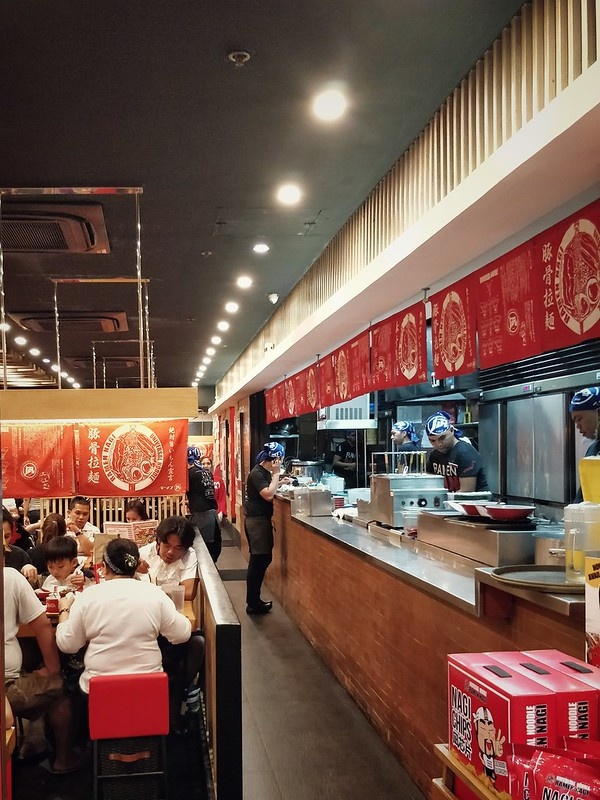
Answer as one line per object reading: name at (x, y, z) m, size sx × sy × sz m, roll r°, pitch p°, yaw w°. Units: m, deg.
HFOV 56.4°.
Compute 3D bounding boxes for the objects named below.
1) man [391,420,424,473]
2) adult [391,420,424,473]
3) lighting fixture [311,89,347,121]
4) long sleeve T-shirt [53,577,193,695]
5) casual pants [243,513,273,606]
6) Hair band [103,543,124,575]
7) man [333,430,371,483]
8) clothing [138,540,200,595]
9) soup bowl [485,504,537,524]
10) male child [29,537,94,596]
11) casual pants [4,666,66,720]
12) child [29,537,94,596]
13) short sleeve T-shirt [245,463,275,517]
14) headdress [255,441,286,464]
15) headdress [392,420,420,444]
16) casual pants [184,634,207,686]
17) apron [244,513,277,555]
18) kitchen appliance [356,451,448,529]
man at (1.177, 0.598, 6.112) m, size 0.237 × 0.857 × 0.353 m, roll 9°, pitch 40°, yaw 29°
adult at (1.169, 0.598, 6.094) m, size 0.232 × 0.860 × 0.341 m, roll 8°, pitch 38°, yaw 27°
lighting fixture at (0.150, -1.516, 2.882) m, size 0.189 × 0.037 × 0.316 m, roll -2°, pitch -9°, yaw 0°
long sleeve T-shirt at (-0.739, 1.030, 2.355) m, size 0.498 × 0.583 × 0.417 m, roll 0°, pitch 0°, yaw -8°
casual pants at (-0.459, 1.740, 5.913) m, size 0.269 × 1.001 × 0.386 m, roll -8°, pitch -10°, yaw 43°
Hair band at (-0.801, 0.693, 2.408) m, size 0.077 × 0.106 × 0.054 m, roll -9°, pitch -39°, yaw -27°
man at (0.745, 0.958, 7.944) m, size 0.449 × 0.815 × 0.464 m, roll 0°, pitch -13°, yaw 9°
clothing at (-0.857, 1.104, 3.652) m, size 0.248 × 0.311 × 0.132 m, roll 11°, pitch -25°, yaw 2°
soup bowl at (0.950, 0.520, 2.556) m, size 0.202 × 0.080 × 0.286 m, roll -4°, pitch -9°, yaw 19°
male child at (-1.440, 1.051, 3.359) m, size 0.374 × 0.425 × 0.205 m, roll -4°, pitch -1°, yaw -8°
casual pants at (-1.168, 1.308, 2.559) m, size 0.319 × 0.201 × 0.134 m, roll -5°, pitch -10°, yaw -38°
child at (-1.438, 1.050, 3.363) m, size 0.367 × 0.423 × 0.207 m, roll -4°, pitch 0°, yaw 2°
short sleeve T-shirt at (-0.417, 0.993, 6.321) m, size 0.386 × 0.783 × 0.705 m, roll 1°, pitch -9°, yaw -9°
headdress at (-0.325, 0.579, 6.259) m, size 0.313 × 0.295 × 0.232 m, roll -1°, pitch 4°, yaw -20°
headdress at (1.093, 0.340, 6.063) m, size 0.226 × 0.272 × 0.316 m, roll 2°, pitch 2°, yaw -27°
casual pants at (-0.514, 1.337, 2.865) m, size 0.065 × 0.220 × 0.157 m, roll 3°, pitch -9°, yaw -3°
apron at (-0.451, 1.378, 6.031) m, size 0.325 × 0.645 × 0.472 m, roll -1°, pitch -8°, yaw -17°
kitchen appliance at (0.738, 0.671, 4.265) m, size 0.407 × 0.585 × 0.786 m, roll 3°, pitch -6°, yaw -15°
